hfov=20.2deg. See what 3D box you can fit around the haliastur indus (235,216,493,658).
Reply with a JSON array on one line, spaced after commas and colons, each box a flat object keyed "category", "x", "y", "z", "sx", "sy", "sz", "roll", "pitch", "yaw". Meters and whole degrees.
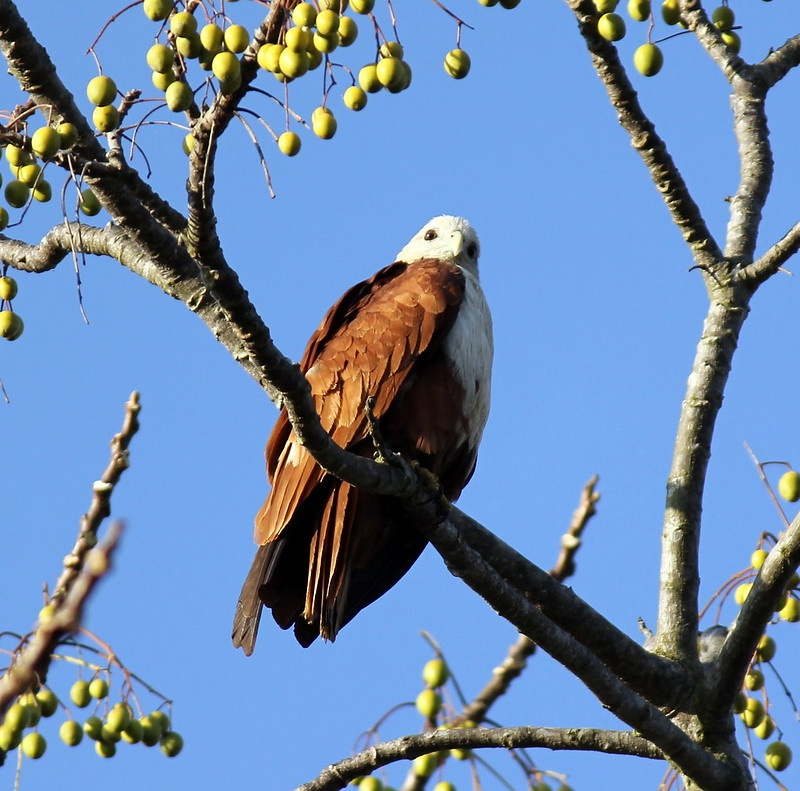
[{"category": "haliastur indus", "x": -0.124, "y": 0.206, "z": 8.030, "sx": 0.746, "sy": 1.350, "sz": 0.601, "roll": -15, "pitch": -37, "yaw": 1}]
